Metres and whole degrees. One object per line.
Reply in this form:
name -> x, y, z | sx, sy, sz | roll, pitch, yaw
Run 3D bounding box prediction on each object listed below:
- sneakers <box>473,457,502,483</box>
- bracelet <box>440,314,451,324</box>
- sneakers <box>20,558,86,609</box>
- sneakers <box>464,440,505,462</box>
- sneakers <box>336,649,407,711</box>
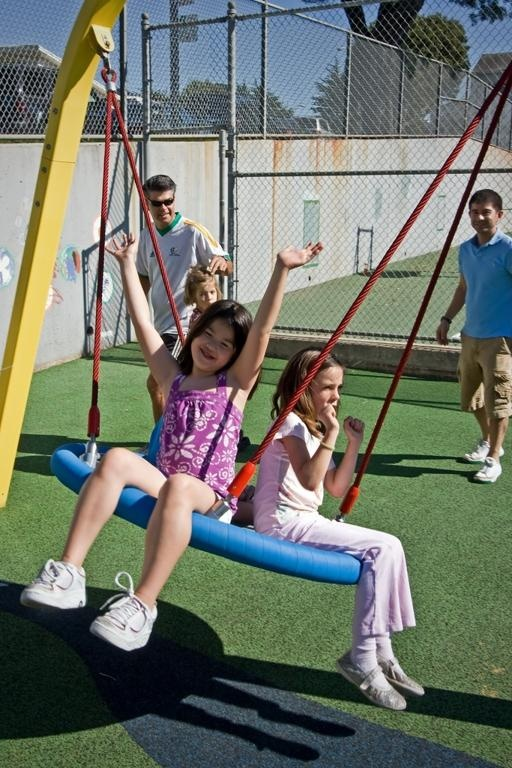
sneakers -> 1.360, 0.517, 3.717 | 0.086, 0.108, 0.239 | 7, -1, 34
bracelet -> 1.254, -0.419, 4.219 | 0.071, 0.043, 0.072 | 26, 5, 38
sneakers -> -0.529, 0.491, 1.557 | 0.077, 0.100, 0.208 | -5, -25, 23
sneakers -> 1.487, 0.442, 4.128 | 0.313, 0.138, 0.107 | -6, 4, -34
sneakers -> 0.312, 0.801, 1.737 | 0.220, 0.086, 0.107 | 34, 11, 13
